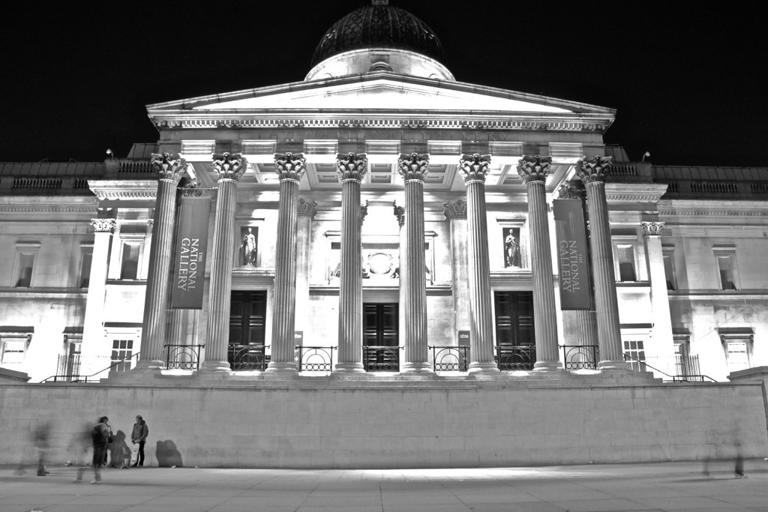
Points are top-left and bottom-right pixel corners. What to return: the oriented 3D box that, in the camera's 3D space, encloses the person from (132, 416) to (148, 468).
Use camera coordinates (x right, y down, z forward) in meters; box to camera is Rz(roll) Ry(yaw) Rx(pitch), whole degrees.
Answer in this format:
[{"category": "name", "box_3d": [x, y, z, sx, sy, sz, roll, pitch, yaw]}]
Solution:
[{"category": "person", "box_3d": [-11.443, 8.628, 31.811, 0.659, 2.311, 1.341, 6, -16, -19]}]
